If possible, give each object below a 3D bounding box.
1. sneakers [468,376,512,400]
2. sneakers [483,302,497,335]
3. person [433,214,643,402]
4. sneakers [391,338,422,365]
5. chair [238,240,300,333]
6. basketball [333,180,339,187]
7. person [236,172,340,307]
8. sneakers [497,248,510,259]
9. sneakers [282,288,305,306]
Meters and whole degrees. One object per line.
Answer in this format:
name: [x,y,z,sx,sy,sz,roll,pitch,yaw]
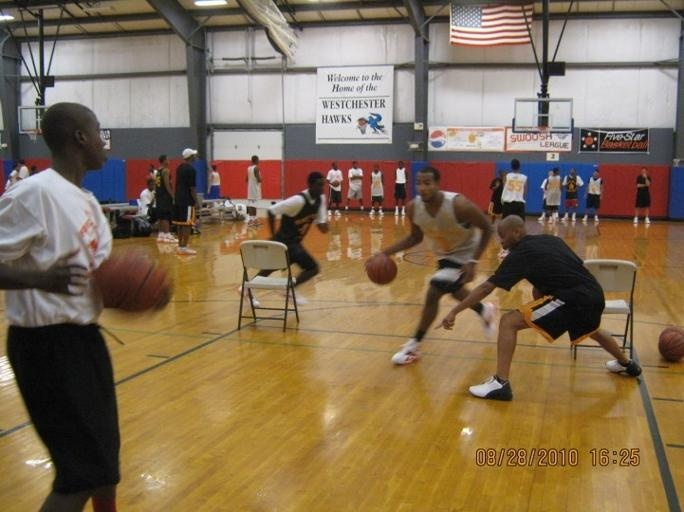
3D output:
sneakers: [1.047,0.942,3.737,0.326,0.185,0.127,0,-2,18]
sneakers: [1.325,0.574,4.820,0.135,0.336,0.113,-10,11,-26]
person: [1.485,0.358,3.729,1.342,1.292,0.627,-3,5,-9]
sneakers: [0.537,0.807,4.445,0.296,0.211,0.124,-5,5,-37]
chair: [-0.742,0.272,5.354,0.575,0.909,0.709,5,7,27]
basketball: [-0.242,-2.464,18.008,0.173,0.135,0.164,-9,13,-39]
person: [-0.563,-0.204,5.952,0.756,1.547,0.538,18,23,16]
sneakers: [2.449,-0.034,8.042,0.140,0.207,0.489,-5,-7,12]
sneakers: [-0.514,0.495,6.018,0.189,0.091,0.337,14,-1,2]
